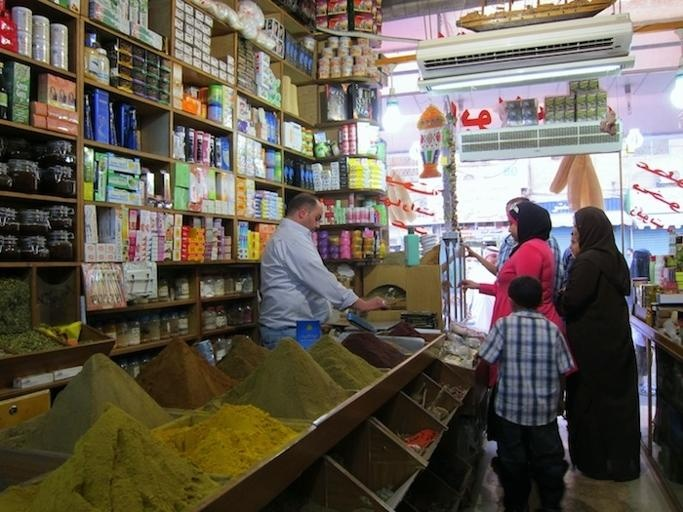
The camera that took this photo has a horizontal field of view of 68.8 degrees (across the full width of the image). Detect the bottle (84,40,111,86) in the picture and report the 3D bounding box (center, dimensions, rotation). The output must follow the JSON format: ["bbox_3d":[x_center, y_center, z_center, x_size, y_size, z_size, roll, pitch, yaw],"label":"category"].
[{"bbox_3d":[-1.527,-1.209,3.130,0.059,0.257,0.204,-2,4,10],"label":"bottle"}]

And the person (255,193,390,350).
[{"bbox_3d":[-0.257,0.090,3.470,0.676,1.075,0.495,-3,4,-9],"label":"person"}]
